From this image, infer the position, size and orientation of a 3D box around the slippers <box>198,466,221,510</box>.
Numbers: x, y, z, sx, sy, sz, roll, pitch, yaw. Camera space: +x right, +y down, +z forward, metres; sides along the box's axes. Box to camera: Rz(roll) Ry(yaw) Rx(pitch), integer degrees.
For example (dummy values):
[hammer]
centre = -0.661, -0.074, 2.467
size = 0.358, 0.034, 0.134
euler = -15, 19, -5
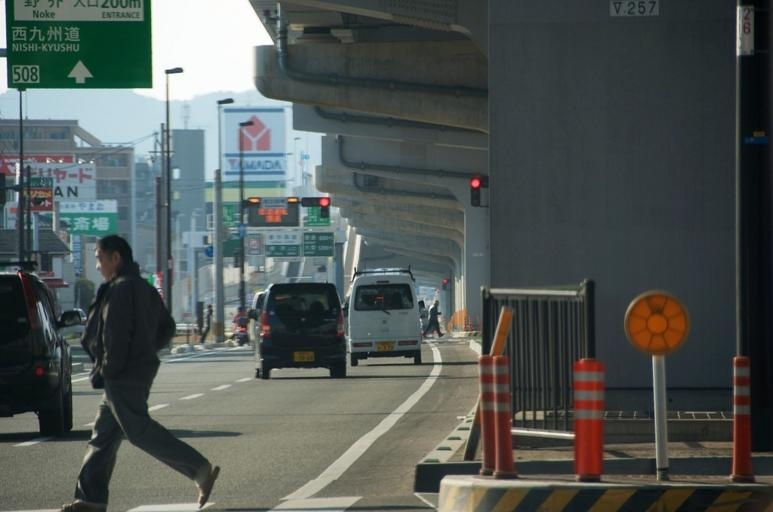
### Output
[slippers]
centre = -2.490, 3.188, 23.533
size = 0.271, 0.705, 0.235
euler = 12, 12, -3

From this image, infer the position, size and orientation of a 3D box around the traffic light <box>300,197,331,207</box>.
[traffic light]
centre = -2.380, -1.848, 57.529
size = 0.722, 0.293, 1.573
euler = 0, 0, -28
